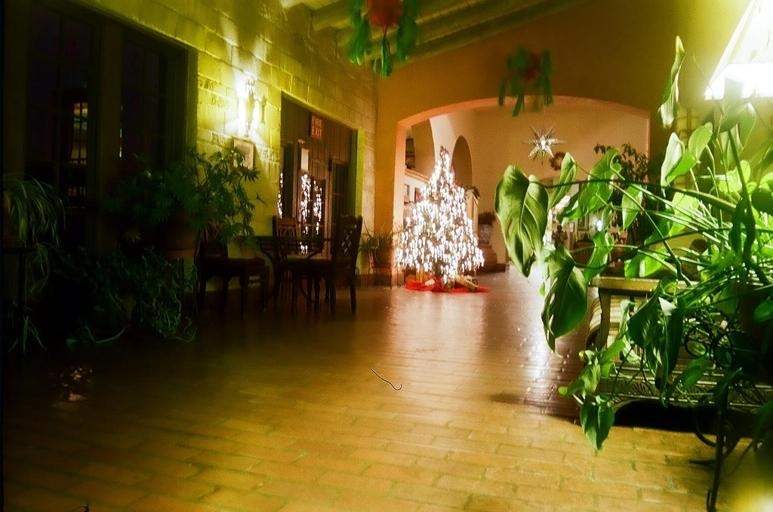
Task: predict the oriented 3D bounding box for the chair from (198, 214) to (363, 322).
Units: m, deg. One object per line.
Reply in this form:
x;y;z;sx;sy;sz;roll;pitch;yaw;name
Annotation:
-1.218;0.115;6.571;1.755;1.200;0.965;0;2;13;chair

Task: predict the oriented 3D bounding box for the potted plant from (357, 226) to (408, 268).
-0.111;-0.178;10.069;0.640;0.823;0.722;0;1;20;potted plant

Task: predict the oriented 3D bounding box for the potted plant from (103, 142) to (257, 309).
-2.030;-0.413;5.424;1.563;1.596;1.285;0;-4;-22;potted plant
